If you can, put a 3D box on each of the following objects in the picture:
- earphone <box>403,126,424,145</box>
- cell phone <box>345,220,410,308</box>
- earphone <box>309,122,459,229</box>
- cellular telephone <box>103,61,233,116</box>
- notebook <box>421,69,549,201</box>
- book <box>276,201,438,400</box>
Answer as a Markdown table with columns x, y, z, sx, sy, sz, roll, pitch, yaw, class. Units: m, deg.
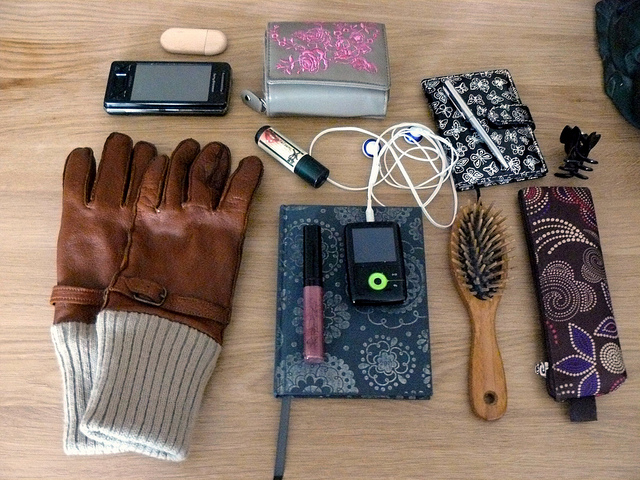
| x | y | z | sx | sy | sz | roll | pitch | yaw | class |
| --- | --- | --- | --- | --- | --- | --- | --- | --- | --- |
| 0.175 | -0.194 | 1.242 | 0.032 | 0.032 | 0.031 | 33 | 95 | 16 | earphone |
| 0.093 | 0.045 | 1.121 | 0.130 | 0.025 | 0.210 | -2 | 66 | -2 | cell phone |
| 0.116 | -0.110 | 1.210 | 0.154 | 0.064 | 0.117 | 22 | 59 | 15 | earphone |
| -0.287 | -0.284 | 1.259 | 0.236 | 0.042 | 0.142 | 2 | 53 | -1 | cellular telephone |
| 0.308 | -0.205 | 1.233 | 0.180 | 0.045 | 0.253 | -12 | 72 | -3 | notebook |
| 0.057 | 0.090 | 1.134 | 0.270 | 0.124 | 0.344 | -3 | 63 | 4 | book |
